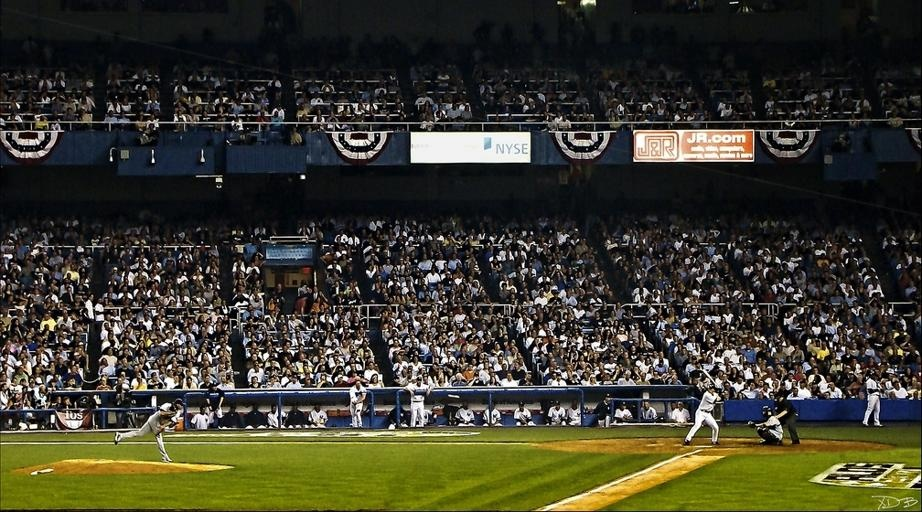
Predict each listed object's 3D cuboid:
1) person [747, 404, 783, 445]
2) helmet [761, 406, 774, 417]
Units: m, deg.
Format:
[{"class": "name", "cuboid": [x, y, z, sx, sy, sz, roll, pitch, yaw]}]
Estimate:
[{"class": "person", "cuboid": [14.033, 7.747, 83.660, 1.293, 1.751, 1.046, 2, 14, 9]}, {"class": "helmet", "cuboid": [13.890, 7.099, 83.466, 0.475, 0.430, 0.387, 19, -3, 24]}]
